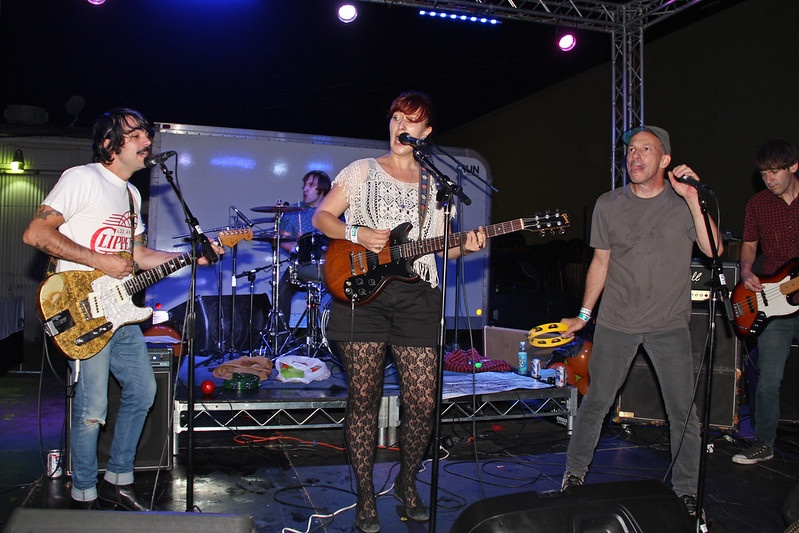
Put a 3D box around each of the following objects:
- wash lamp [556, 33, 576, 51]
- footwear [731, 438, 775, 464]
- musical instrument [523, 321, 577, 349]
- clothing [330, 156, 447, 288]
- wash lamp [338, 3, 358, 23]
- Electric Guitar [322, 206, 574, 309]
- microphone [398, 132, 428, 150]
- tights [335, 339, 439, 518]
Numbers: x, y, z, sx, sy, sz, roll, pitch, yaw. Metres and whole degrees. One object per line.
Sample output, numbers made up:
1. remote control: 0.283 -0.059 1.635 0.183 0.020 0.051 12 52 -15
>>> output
1. wash lamp: 2.621 -3.548 10.038 0.260 0.284 0.413 -1 -1 22
2. footwear: 3.670 1.924 6.697 0.523 0.237 0.178 1 -1 -14
3. musical instrument: 1.353 0.603 5.554 0.289 0.074 0.342 -18 -31 39
4. clothing: -0.139 -0.395 5.425 1.206 0.659 1.239 -8 -7 44
5. wash lamp: -0.763 -3.774 9.518 0.271 0.272 0.298 -1 -1 10
6. Electric Guitar: 0.829 -0.076 7.819 2.237 0.772 0.303 -12 -2 -3
7. microphone: 0.110 -1.014 5.140 0.135 0.059 0.140 18 3 29
8. tights: -0.073 1.266 5.424 0.828 1.600 0.518 3 -17 -11
